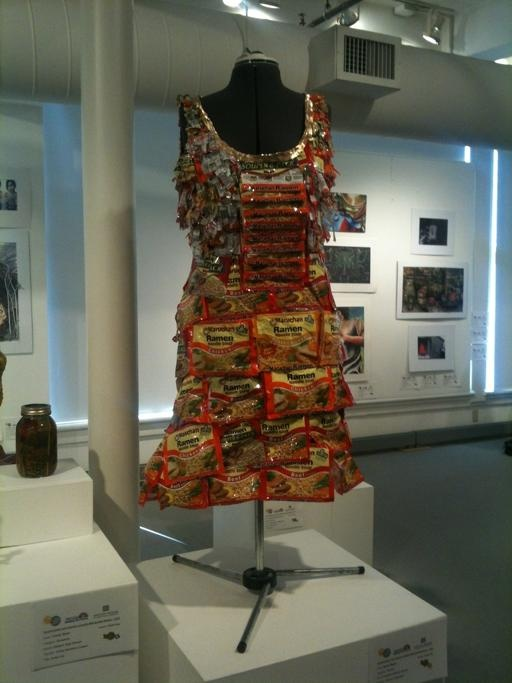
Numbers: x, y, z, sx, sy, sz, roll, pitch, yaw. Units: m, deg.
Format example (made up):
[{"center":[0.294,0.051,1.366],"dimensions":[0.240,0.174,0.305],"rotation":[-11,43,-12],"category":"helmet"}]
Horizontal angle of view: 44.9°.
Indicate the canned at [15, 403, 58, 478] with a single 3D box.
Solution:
[{"center":[-0.575,0.256,1.613],"dimensions":[0.100,0.178,0.136],"rotation":[5,-2,-13],"category":"canned"}]
